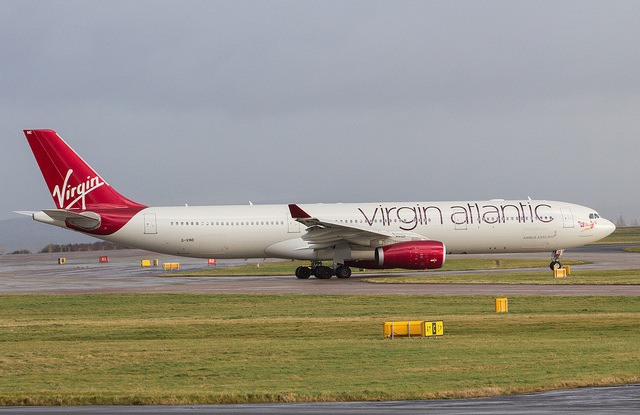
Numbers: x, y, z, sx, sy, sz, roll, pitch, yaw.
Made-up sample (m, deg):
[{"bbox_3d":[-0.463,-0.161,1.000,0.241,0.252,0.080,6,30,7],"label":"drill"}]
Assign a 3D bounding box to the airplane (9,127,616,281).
[{"bbox_3d":[0.475,0.722,59.611,36.378,5.585,29.298,1,10,-1],"label":"airplane"}]
